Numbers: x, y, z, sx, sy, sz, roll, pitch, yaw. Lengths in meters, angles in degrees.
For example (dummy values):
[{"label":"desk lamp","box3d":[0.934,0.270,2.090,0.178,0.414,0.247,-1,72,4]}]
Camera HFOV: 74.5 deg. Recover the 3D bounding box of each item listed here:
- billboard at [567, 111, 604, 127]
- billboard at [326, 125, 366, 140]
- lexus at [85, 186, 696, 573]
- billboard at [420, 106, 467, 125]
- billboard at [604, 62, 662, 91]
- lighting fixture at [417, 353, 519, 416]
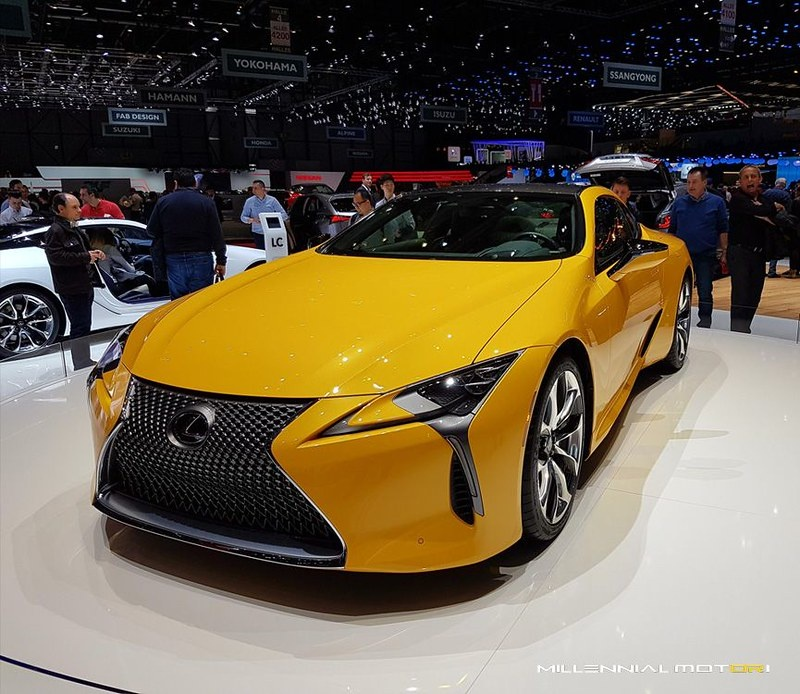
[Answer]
[{"label":"billboard","box3d":[6.394,-7.860,18.200,1.663,0.546,0.515,-16,20,-35]},{"label":"billboard","box3d":[-2.308,-8.996,22.147,1.490,0.616,1.430,-4,16,0]},{"label":"lexus","box3d":[0.318,0.085,2.549,1.472,0.916,2.829,9,19,30]},{"label":"billboard","box3d":[1.614,-8.945,20.295,2.128,0.652,0.513,-13,19,-29]},{"label":"billboard","box3d":[5.256,-6.132,11.956,1.765,0.583,0.303,-10,17,-20]},{"label":"lighting fixture","box3d":[0.218,0.126,1.676,0.246,0.151,0.077,-26,-12,-16]}]
